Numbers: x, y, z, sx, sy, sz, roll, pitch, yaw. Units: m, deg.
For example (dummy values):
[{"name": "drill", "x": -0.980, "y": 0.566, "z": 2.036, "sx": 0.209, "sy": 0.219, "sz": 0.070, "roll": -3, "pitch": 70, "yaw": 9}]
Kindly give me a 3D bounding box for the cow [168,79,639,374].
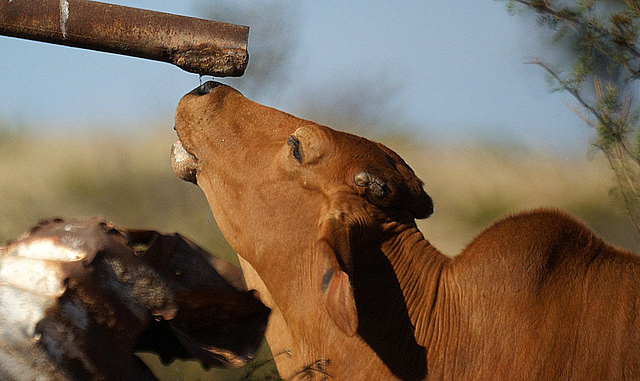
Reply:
[{"name": "cow", "x": 0.908, "y": 0.633, "z": 11.996, "sx": 3.895, "sy": 2.920, "sz": 2.293, "roll": 13, "pitch": 0, "yaw": 10}]
